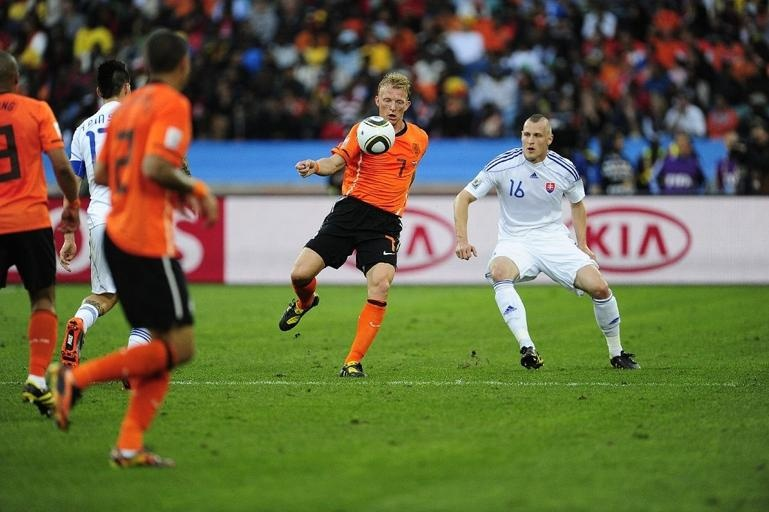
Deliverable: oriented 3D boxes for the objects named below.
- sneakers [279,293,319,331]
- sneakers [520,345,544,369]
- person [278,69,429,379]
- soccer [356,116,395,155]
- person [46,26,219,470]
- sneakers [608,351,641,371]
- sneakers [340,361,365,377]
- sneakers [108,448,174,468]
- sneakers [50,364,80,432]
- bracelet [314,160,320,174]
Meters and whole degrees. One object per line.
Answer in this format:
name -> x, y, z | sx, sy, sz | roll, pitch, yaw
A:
sneakers -> -0.898, 0.615, 9.758 | 0.167, 0.466, 0.207 | 45, 4, 9
sneakers -> 1.337, 0.925, 8.190 | 0.221, 0.086, 0.162 | 37, -46, -23
person -> -0.240, -0.298, 8.491 | 1.243, 2.757, 1.154 | 1, 11, 4
soccer -> -0.079, -1.103, 8.301 | 0.315, 0.337, 0.327 | 0, 5, 1
person -> -1.731, -0.070, 6.362 | 1.115, 2.952, 0.819 | -2, 11, -11
sneakers -> 2.243, 0.961, 8.423 | 0.258, 0.132, 0.240 | 0, 12, 1
sneakers -> -0.300, 1.012, 8.130 | 0.103, 0.101, 0.218 | -2, -11, 18
sneakers -> -1.690, 1.396, 6.341 | 0.435, 0.191, 0.161 | 1, 3, -15
sneakers -> -2.155, 0.915, 6.133 | 0.165, 0.489, 0.215 | -3, 4, -7
bracelet -> -0.599, -0.793, 8.082 | 0.035, 0.093, 0.067 | 11, -27, -18
